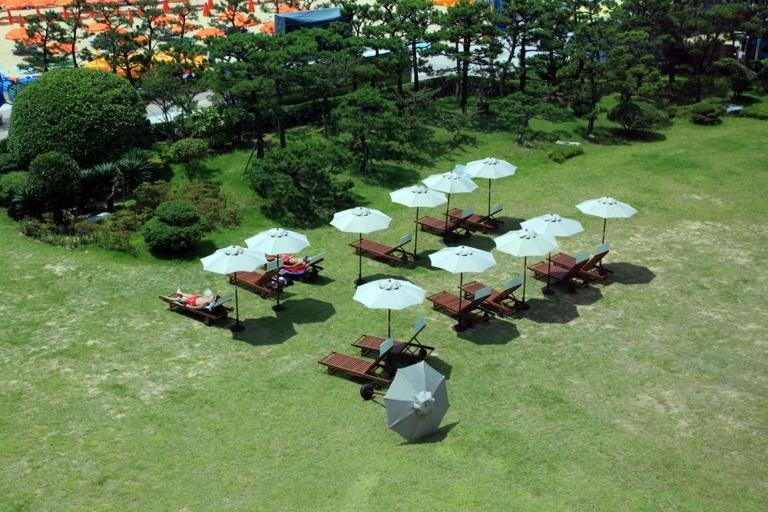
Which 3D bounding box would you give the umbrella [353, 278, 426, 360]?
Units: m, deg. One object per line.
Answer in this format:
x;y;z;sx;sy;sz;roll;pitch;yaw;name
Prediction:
0.295;2.038;31.204;3.022;2.384;2.610;-20;48;-19;umbrella

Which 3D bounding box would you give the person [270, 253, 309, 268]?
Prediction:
-4.182;0.159;35.266;1.448;0.641;0.647;9;12;12;person

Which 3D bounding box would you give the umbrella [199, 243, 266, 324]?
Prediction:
-6.231;1.078;32.549;2.502;3.182;2.264;18;32;36;umbrella

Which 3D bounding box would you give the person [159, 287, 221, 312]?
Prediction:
-7.885;1.793;32.436;2.129;0.574;0.958;7;18;11;person
